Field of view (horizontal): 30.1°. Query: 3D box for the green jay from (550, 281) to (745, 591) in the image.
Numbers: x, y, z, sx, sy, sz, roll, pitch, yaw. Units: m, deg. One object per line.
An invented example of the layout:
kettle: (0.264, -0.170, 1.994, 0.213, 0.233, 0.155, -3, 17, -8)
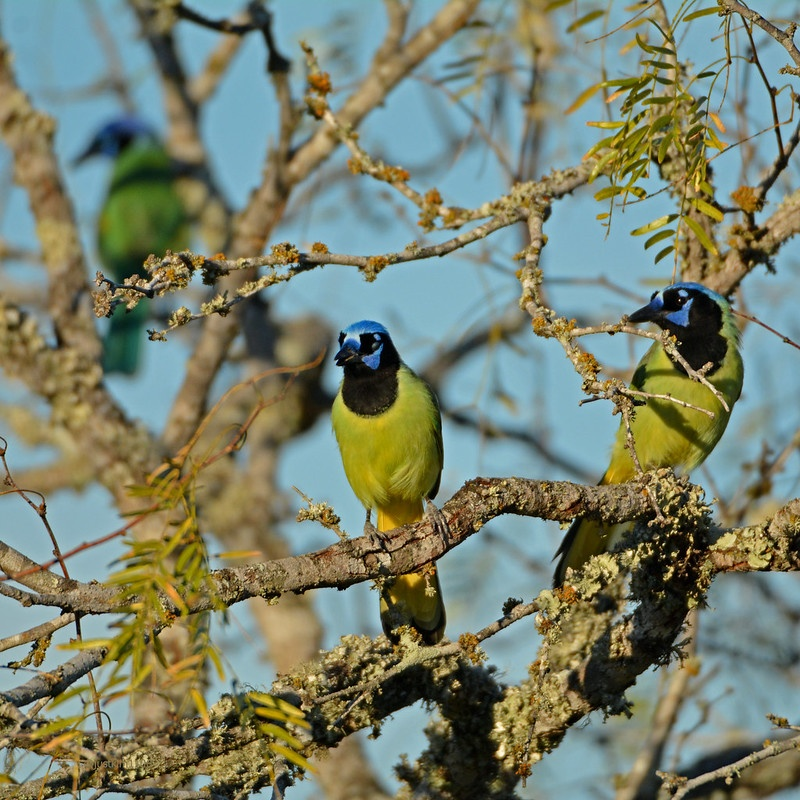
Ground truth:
green jay: (1.373, -0.007, 7.660, 0.663, 1.414, 1.659, 14, 38, 24)

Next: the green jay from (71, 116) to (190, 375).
green jay: (-1.521, -1.044, 8.862, 0.586, 2.212, 0.852, -1, 9, -14)
